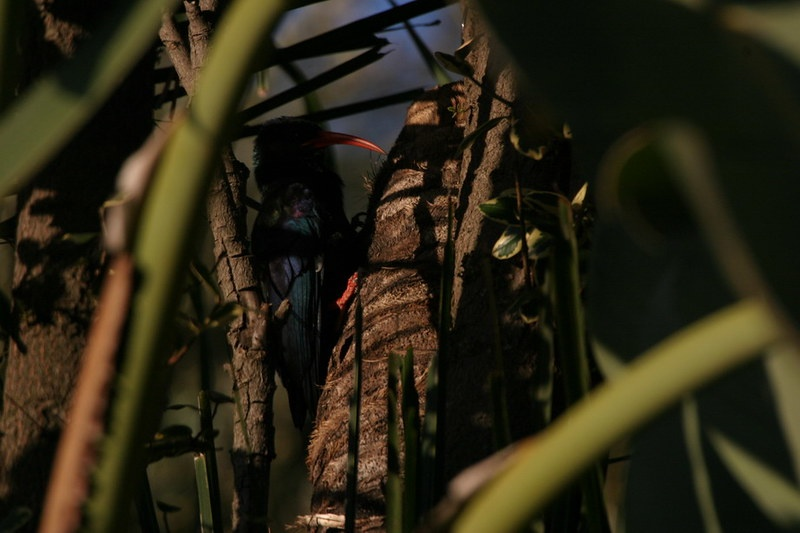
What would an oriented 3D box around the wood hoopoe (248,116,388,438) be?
[{"bbox_3d":[-0.236,0.118,4.410,0.517,0.437,1.022,-9,-41,-5],"label":"wood hoopoe"}]
